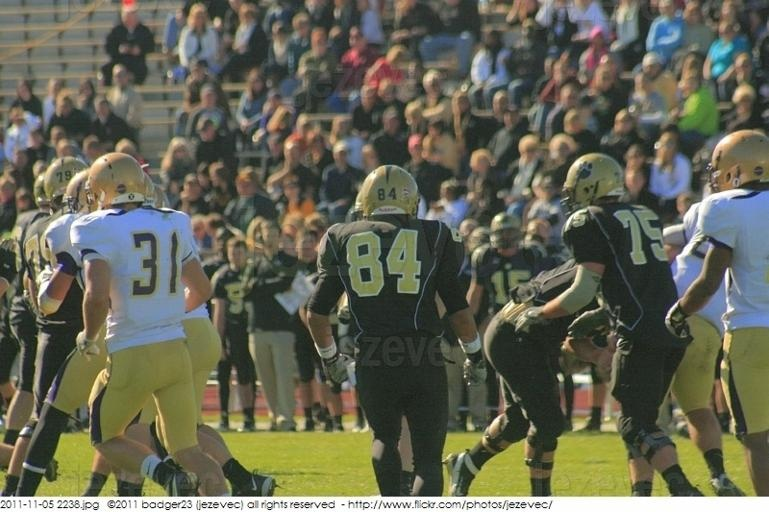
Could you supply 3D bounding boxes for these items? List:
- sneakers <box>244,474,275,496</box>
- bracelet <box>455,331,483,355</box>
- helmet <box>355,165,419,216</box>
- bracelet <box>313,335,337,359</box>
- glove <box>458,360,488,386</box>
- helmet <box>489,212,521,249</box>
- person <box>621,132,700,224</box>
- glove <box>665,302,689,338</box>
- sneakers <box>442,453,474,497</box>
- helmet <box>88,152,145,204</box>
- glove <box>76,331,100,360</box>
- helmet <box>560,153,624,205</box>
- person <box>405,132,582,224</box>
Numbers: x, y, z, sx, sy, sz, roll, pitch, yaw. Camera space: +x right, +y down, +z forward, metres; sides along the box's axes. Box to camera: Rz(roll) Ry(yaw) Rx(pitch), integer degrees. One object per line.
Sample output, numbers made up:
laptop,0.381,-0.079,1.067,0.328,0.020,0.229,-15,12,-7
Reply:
sneakers,-1.211,2.219,13.184,0.236,0.236,0.167,3,-6,21
bracelet,0.811,0.833,13.116,0.186,0.128,0.186,-11,10,1
helmet,0.024,-0.618,12.990,0.431,0.446,0.545,1,12,1
bracelet,-0.573,0.893,13.117,0.197,0.158,0.199,-27,2,-27
glove,0.832,1.131,13.232,0.193,0.264,0.265,0,-5,2
helmet,1.431,-0.306,16.461,0.317,0.352,0.433,0,-6,0
person,3.572,-1.064,17.606,1.126,1.072,0.358,-1,-12,-1
glove,2.771,0.632,12.998,0.182,0.314,0.239,-20,8,42
sneakers,0.732,2.186,13.641,0.241,0.565,0.195,-12,-5,26
helmet,-2.558,-0.716,12.960,0.406,0.458,0.536,-12,29,-26
glove,-2.827,0.854,12.894,0.206,0.276,0.110,13,38,12
helmet,2.075,-0.774,13.574,0.573,0.489,0.440,5,12,37
person,1.292,-0.907,18.173,1.731,0.655,1.243,-16,20,-39
